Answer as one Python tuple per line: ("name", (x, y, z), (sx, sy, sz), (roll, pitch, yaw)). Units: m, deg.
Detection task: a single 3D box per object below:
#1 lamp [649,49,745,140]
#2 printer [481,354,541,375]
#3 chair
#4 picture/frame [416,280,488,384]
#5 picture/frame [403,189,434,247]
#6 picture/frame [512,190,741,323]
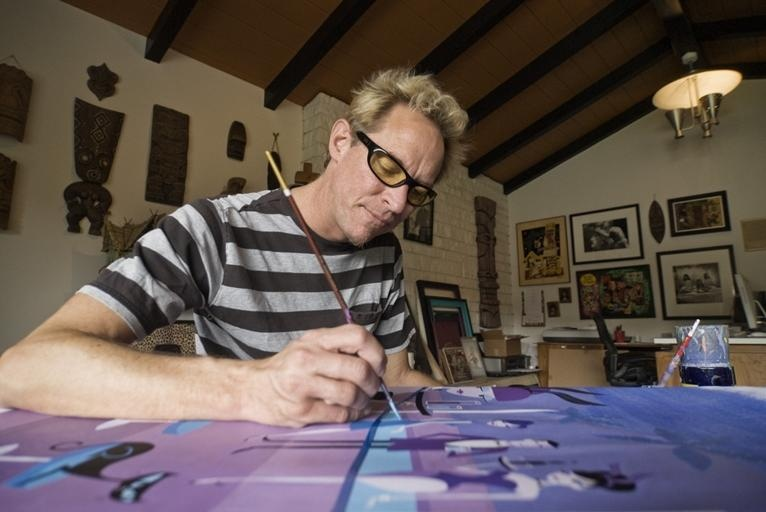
("lamp", (2.607, -1.338, 4.048), (0.599, 0.656, 0.688), (10, -28, 6))
("printer", (1.185, 1.001, 4.572), (0.554, 0.165, 0.432), (2, -7, -12))
("chair", (1.771, 0.683, 3.640), (0.388, 0.483, 0.933), (-4, -8, 28))
("picture/frame", (0.551, 0.638, 4.117), (0.066, 0.920, 0.836), (-22, -20, 33))
("picture/frame", (0.222, -0.220, 3.293), (0.030, 0.441, 0.400), (16, 14, 42))
("picture/frame", (2.371, -0.072, 4.827), (1.720, 1.374, 0.166), (-6, -10, 39))
